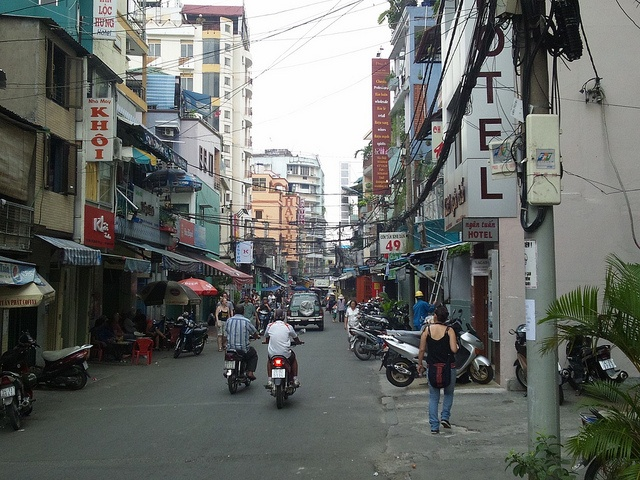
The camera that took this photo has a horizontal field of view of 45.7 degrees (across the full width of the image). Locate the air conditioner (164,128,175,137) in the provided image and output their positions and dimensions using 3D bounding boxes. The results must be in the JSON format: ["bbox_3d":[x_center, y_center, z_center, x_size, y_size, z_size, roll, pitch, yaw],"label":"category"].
[{"bbox_3d":[-7.944,-5.705,40.268,0.542,0.618,0.422,0,-9,-7],"label":"air conditioner"}]

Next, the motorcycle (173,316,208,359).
[{"bbox_3d":[-4.302,3.199,25.482,0.590,1.367,1.836,3,-4,21],"label":"motorcycle"}]

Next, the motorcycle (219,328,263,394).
[{"bbox_3d":[-1.889,3.057,17.837,0.578,1.048,1.187,-1,1,12],"label":"motorcycle"}]

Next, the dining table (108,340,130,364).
[{"bbox_3d":[-6.184,3.393,23.464,0.750,0.729,1.150,-2,1,-17],"label":"dining table"}]

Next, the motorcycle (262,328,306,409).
[{"bbox_3d":[-0.810,2.654,16.228,0.627,1.710,1.179,-1,1,17],"label":"motorcycle"}]

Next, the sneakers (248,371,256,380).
[{"bbox_3d":[-1.584,3.227,18.065,0.099,0.167,0.361,1,-2,9],"label":"sneakers"}]

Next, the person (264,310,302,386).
[{"bbox_3d":[-0.904,2.469,16.188,0.901,1.384,1.969,-1,10,-6],"label":"person"}]

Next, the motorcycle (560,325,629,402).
[{"bbox_3d":[5.654,2.546,15.681,0.792,1.319,1.903,-8,-6,-3],"label":"motorcycle"}]

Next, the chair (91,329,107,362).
[{"bbox_3d":[-6.727,3.191,23.207,0.401,1.047,0.686,-2,1,-19],"label":"chair"}]

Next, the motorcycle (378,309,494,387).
[{"bbox_3d":[2.858,2.596,18.593,2.654,2.171,1.415,-2,-1,-1],"label":"motorcycle"}]

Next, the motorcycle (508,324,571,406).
[{"bbox_3d":[4.882,2.645,16.250,1.101,1.749,2.214,1,3,-3],"label":"motorcycle"}]

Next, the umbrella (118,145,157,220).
[{"bbox_3d":[-7.160,-1.996,27.712,1.817,2.428,2.322,0,-3,7],"label":"umbrella"}]

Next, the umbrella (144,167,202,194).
[{"bbox_3d":[-6.146,-2.437,31.459,1.826,0.844,1.902,0,-1,39],"label":"umbrella"}]

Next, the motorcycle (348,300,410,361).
[{"bbox_3d":[1.988,3.010,23.999,2.228,1.858,1.140,0,-2,-27],"label":"motorcycle"}]

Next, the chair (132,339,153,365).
[{"bbox_3d":[-5.429,3.437,23.397,0.662,1.081,0.708,2,-1,-18],"label":"chair"}]
